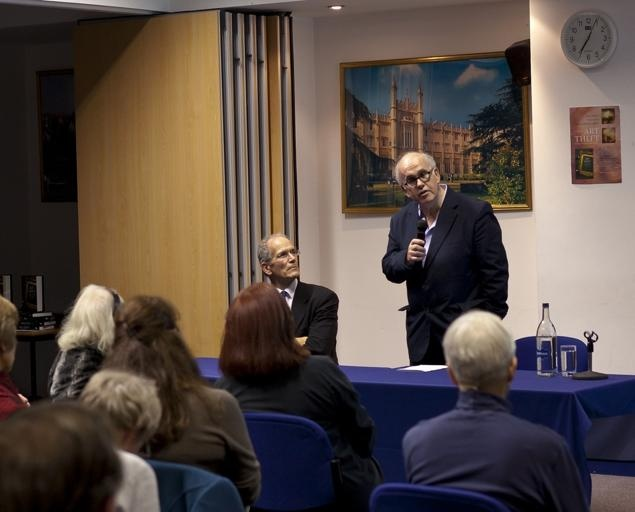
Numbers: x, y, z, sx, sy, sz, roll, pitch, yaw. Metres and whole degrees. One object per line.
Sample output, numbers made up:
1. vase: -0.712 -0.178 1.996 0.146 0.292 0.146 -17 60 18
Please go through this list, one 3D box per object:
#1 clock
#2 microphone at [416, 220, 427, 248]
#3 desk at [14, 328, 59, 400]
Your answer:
1. clock: 1.971 -1.573 4.410 0.367 0.535 0.070 1 1 15
2. microphone: 0.623 -0.157 3.653 0.055 0.146 0.320 0 3 10
3. desk: -2.699 1.070 5.807 0.433 0.747 0.466 -1 2 -27
